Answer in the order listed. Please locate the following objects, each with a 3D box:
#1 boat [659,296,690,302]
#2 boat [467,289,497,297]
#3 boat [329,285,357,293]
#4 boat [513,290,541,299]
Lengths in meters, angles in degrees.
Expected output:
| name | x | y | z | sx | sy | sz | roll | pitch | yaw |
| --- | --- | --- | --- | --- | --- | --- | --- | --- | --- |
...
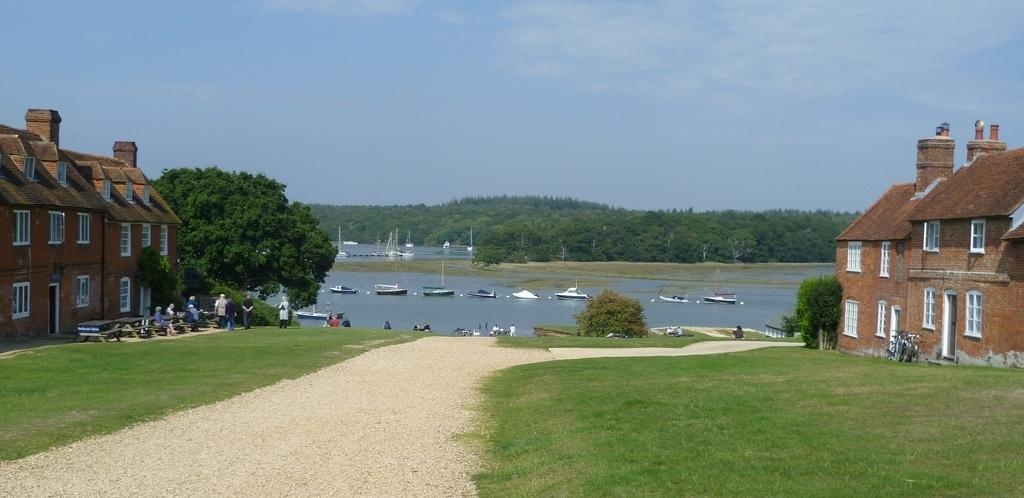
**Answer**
| name | x | y | z | sx | sy | sz | roll | pitch | yaw |
| --- | --- | --- | --- | --- | --- | --- | --- | --- | --- |
| boat | 29.919 | 9.233 | 186.291 | 5.497 | 1.102 | 1.797 | 4 | -2 | 23 |
| boat | -6.275 | 8.462 | 193.574 | 6.373 | 1.423 | 1.861 | 3 | -3 | 17 |
| boat | -32.640 | 7.836 | 192.336 | 7.468 | 1.424 | 1.822 | 3 | -2 | 10 |
| boat | 2.766 | 8.725 | 191.283 | 4.515 | 1.079 | 5.445 | 0 | 2 | -9 |
